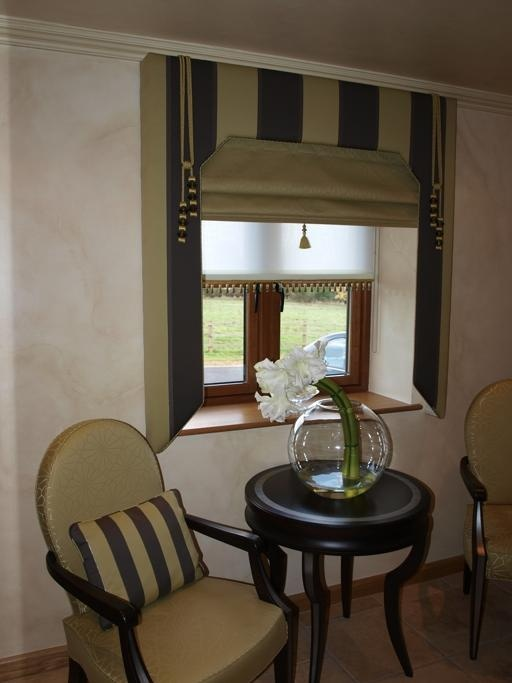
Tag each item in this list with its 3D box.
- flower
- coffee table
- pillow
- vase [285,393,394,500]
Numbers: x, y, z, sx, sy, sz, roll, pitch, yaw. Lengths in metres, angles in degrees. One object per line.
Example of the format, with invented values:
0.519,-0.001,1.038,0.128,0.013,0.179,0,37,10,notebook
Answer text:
0.182,0.251,1.821,0.312,0.465,0.268,-3,5,4,flower
0.253,0.705,2.041,0.649,0.746,0.675,-2,7,-3,coffee table
-0.320,0.627,1.632,0.082,0.277,0.352,-33,-14,35,pillow
0.300,0.405,2.068,0.390,0.371,0.422,-2,1,-8,vase
